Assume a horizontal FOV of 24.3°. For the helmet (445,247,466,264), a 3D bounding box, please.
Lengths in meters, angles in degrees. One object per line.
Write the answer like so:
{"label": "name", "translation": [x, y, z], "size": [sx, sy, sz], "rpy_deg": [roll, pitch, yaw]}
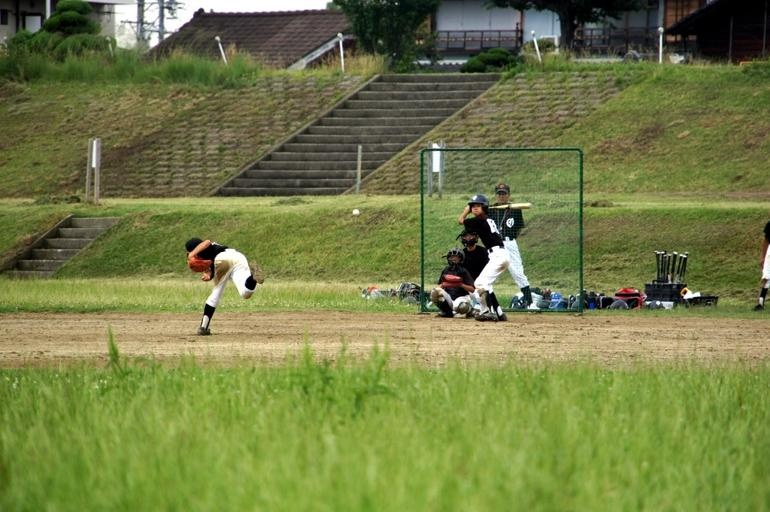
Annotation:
{"label": "helmet", "translation": [2.382, -0.026, 61.295], "size": [0.441, 0.489, 0.561], "rpy_deg": [0, -19, 7]}

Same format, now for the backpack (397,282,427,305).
{"label": "backpack", "translation": [0.902, 1.353, 63.705], "size": [0.790, 0.453, 1.135], "rpy_deg": [4, 0, 2]}

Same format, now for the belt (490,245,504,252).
{"label": "belt", "translation": [3.766, -0.291, 60.777], "size": [0.489, 0.187, 0.134], "rpy_deg": [0, 4, -4]}

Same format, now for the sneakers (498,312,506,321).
{"label": "sneakers", "translation": [3.955, 2.101, 61.140], "size": [0.231, 0.207, 0.198], "rpy_deg": [-6, 0, 37]}

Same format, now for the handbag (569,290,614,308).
{"label": "handbag", "translation": [7.264, 1.567, 63.130], "size": [1.010, 0.381, 0.802], "rpy_deg": [1, 1, -18]}

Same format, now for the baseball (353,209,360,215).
{"label": "baseball", "translation": [-1.238, -1.813, 71.030], "size": [0.284, 0.232, 0.268], "rpy_deg": [1, 5, 5]}

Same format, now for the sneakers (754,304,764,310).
{"label": "sneakers", "translation": [13.154, 1.793, 62.575], "size": [0.133, 0.177, 0.439], "rpy_deg": [1, 4, -21]}

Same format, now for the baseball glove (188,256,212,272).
{"label": "baseball glove", "translation": [-6.253, 0.270, 59.372], "size": [0.576, 0.385, 0.522], "rpy_deg": [6, 1, 0]}

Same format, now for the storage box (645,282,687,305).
{"label": "storage box", "translation": [9.969, 1.278, 63.650], "size": [0.957, 0.616, 0.983], "rpy_deg": [0, 0, 21]}

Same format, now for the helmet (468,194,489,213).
{"label": "helmet", "translation": [3.235, -1.890, 61.293], "size": [0.548, 0.495, 0.633], "rpy_deg": [6, 15, 28]}

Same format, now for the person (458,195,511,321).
{"label": "person", "translation": [3.368, -0.005, 61.072], "size": [1.153, 4.270, 1.345], "rpy_deg": [-2, 5, -31]}

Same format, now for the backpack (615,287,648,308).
{"label": "backpack", "translation": [8.844, 1.420, 63.592], "size": [0.653, 0.363, 0.899], "rpy_deg": [14, 18, 21]}
